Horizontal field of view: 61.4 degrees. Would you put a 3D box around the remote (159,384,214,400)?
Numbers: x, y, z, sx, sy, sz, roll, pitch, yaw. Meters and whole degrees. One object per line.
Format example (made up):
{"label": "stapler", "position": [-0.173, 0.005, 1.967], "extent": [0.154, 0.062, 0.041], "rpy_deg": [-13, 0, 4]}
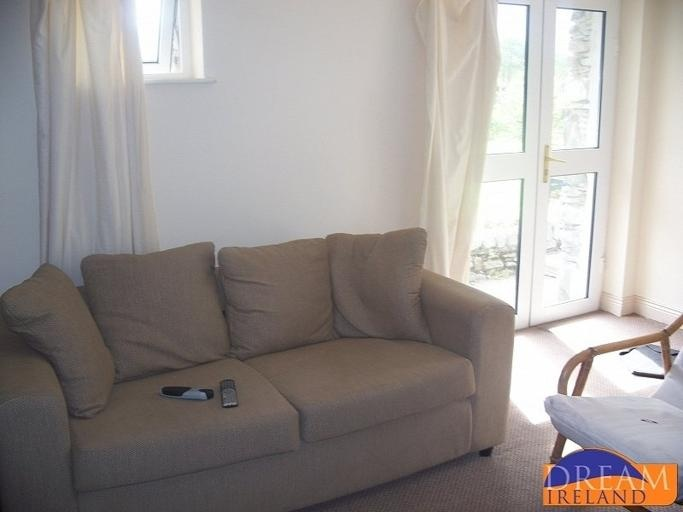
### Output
{"label": "remote", "position": [-0.673, 0.592, 2.487], "extent": [0.225, 0.051, 0.080], "rpy_deg": [0, 19, 4]}

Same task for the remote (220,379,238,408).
{"label": "remote", "position": [-0.486, 0.593, 2.479], "extent": [0.071, 0.024, 0.210], "rpy_deg": [0, 32, -13]}
